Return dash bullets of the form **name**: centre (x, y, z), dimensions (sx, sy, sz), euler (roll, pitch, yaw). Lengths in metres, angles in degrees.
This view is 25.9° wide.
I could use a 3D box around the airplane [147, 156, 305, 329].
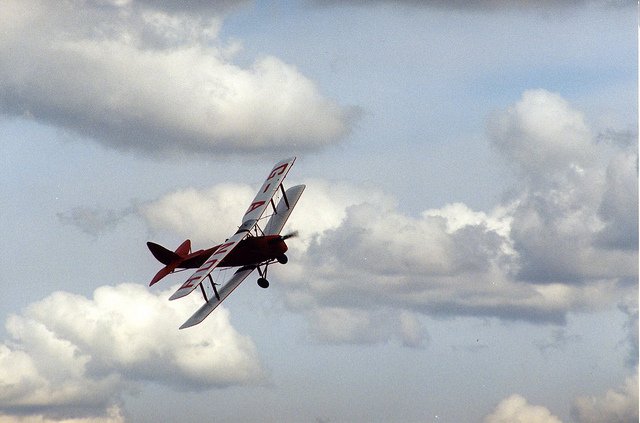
- **airplane**: centre (-3.113, 1.467, 49.170), dimensions (4.801, 2.035, 7.011), euler (-2, 38, 34)
